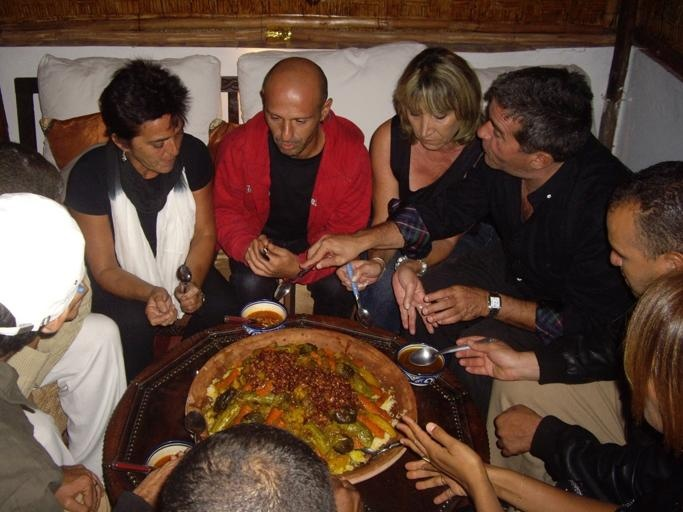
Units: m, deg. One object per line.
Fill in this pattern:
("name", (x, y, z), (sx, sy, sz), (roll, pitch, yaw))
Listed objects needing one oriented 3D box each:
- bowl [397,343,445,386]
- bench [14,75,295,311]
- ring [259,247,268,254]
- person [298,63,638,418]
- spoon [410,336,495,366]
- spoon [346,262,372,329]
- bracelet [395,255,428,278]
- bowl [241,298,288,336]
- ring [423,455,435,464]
("bowl", (0.428, 0.597, 2.695), (0.213, 0.110, 0.223), (2, 51, -3))
("bench", (-2.252, -0.543, 5.077), (2.222, 2.441, 0.594), (-10, 5, -14))
("ring", (-0.555, -0.026, 3.532), (0.055, 0.054, 0.033), (32, 66, -18))
("person", (0.786, -0.052, 3.210), (1.370, 1.971, 1.084), (-16, 64, 0))
("spoon", (0.629, 0.505, 2.804), (0.514, 0.129, 0.071), (-15, -2, -12))
("spoon", (0.095, 0.261, 3.190), (0.097, 0.072, 0.496), (6, 52, -36))
("bracelet", (0.496, 0.055, 3.581), (0.161, 0.075, 0.177), (-7, 40, -40))
("bowl", (-0.459, 0.356, 2.907), (0.206, 0.091, 0.213), (-1, 55, 2))
("ring", (0.399, 0.936, 2.267), (0.019, 0.024, 0.059), (-30, 47, -4))
